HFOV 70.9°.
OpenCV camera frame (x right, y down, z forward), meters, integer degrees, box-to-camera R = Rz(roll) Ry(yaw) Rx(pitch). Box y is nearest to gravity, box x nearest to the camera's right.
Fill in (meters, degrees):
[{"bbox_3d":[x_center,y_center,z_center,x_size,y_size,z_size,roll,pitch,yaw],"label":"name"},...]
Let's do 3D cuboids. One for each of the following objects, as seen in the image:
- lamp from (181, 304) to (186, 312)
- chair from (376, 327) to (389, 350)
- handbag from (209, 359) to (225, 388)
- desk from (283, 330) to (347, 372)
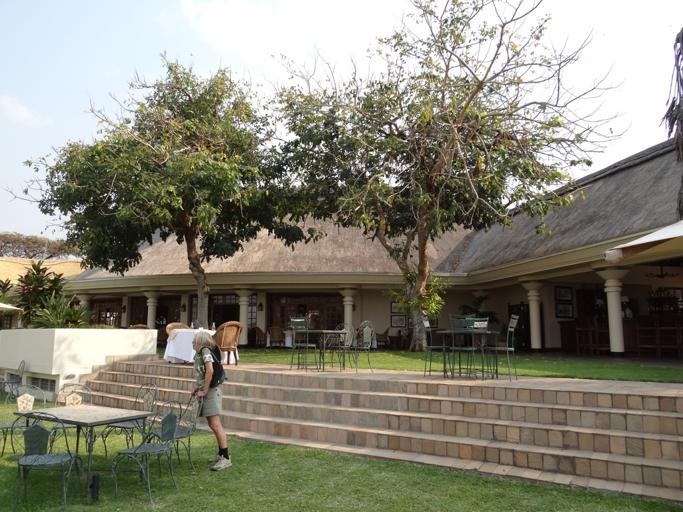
[{"bbox_3d":[-8.269,2.719,25.124,0.311,0.331,0.175,-11,-18,32],"label":"lamp"},{"bbox_3d":[2.009,3.995,23.119,0.790,1.171,0.958,1,-12,2],"label":"chair"},{"bbox_3d":[-1.888,1.842,7.528,0.267,0.549,0.450,1,-8,-6],"label":"handbag"},{"bbox_3d":[-0.791,2.612,13.987,1.709,0.949,1.834,7,-18,1],"label":"desk"}]
